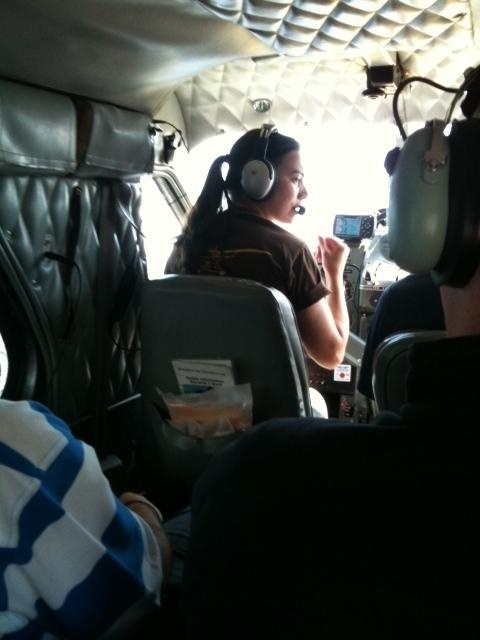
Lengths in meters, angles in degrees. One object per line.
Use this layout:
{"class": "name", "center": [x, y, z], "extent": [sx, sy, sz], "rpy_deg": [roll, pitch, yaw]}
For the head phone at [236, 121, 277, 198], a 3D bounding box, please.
{"class": "head phone", "center": [0.078, -0.557, 1.895], "extent": [0.101, 0.323, 0.301], "rpy_deg": [10, -7, 6]}
